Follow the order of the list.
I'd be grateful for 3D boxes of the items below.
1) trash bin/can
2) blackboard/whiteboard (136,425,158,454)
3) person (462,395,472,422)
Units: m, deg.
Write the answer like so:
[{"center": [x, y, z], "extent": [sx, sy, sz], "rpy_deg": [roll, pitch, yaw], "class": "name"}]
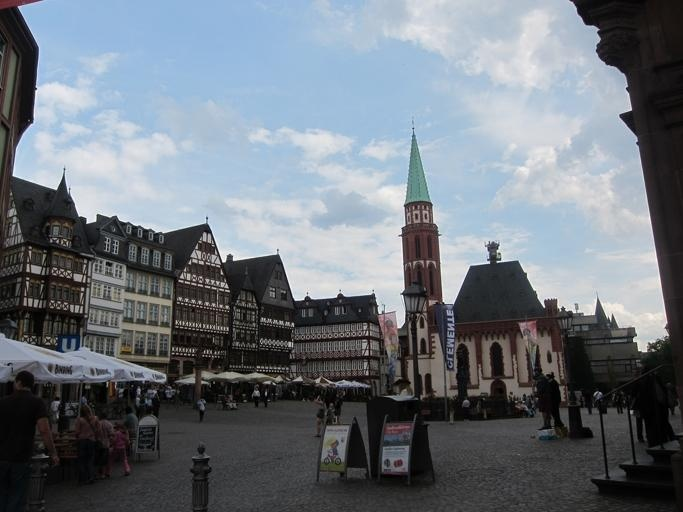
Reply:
[{"center": [1.064, 3.735, 11.340], "extent": [1.037, 1.604, 0.922], "rpy_deg": [-4, -16, 1], "class": "trash bin/can"}, {"center": [-5.257, 5.054, 15.056], "extent": [0.603, 0.932, 0.721], "rpy_deg": [1, -20, -6], "class": "blackboard/whiteboard"}, {"center": [7.515, 9.276, 32.876], "extent": [0.505, 1.175, 1.585], "rpy_deg": [-6, -17, 11], "class": "person"}]
